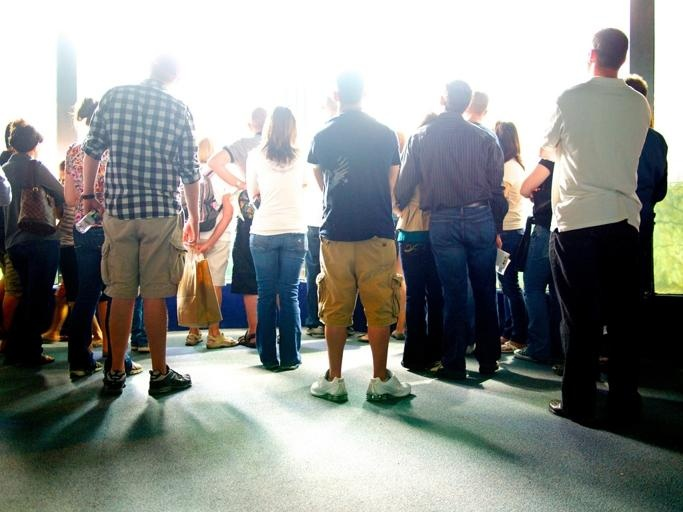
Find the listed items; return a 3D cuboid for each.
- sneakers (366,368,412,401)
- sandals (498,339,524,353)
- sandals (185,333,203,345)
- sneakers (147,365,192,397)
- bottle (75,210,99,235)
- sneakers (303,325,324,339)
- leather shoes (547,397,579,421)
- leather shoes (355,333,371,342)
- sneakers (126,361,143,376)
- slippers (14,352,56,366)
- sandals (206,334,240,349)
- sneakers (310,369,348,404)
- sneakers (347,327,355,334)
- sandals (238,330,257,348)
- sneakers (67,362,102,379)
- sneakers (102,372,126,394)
[{"bbox_3d":[0.285,0.760,2.951,0.285,0.139,0.118,0,-1,-38],"label":"sneakers"},{"bbox_3d":[1.393,0.766,4.210,0.283,0.114,0.104,4,-5,-7],"label":"sandals"},{"bbox_3d":[-1.377,0.767,4.598,0.065,0.076,0.179,0,5,9],"label":"sandals"},{"bbox_3d":[-1.047,0.762,3.077,0.111,0.141,0.295,1,3,42],"label":"sneakers"},{"bbox_3d":[-1.619,-0.217,3.163,0.088,0.145,0.083,29,-31,19],"label":"bottle"},{"bbox_3d":[-0.283,0.764,5.045,0.084,0.104,0.221,3,-6,-37],"label":"sneakers"},{"bbox_3d":[1.180,0.807,2.663,0.070,0.094,0.209,0,5,-13],"label":"leather shoes"},{"bbox_3d":[0.205,0.775,4.823,0.122,0.145,0.361,1,-10,-2],"label":"leather shoes"},{"bbox_3d":[-1.443,0.779,3.464,0.058,0.076,0.115,4,12,28],"label":"sneakers"},{"bbox_3d":[-2.302,0.774,3.735,0.268,0.078,0.097,-1,8,-26],"label":"slippers"},{"bbox_3d":[-1.067,0.744,4.483,0.311,0.131,0.110,-3,3,-43],"label":"sandals"},{"bbox_3d":[-0.082,0.778,2.966,0.108,0.125,0.258,3,2,-31],"label":"sneakers"},{"bbox_3d":[0.094,0.783,5.236,0.091,0.058,0.159,3,5,3],"label":"sneakers"},{"bbox_3d":[-0.842,0.739,4.454,0.097,0.106,0.267,3,4,-20],"label":"sandals"},{"bbox_3d":[-1.754,0.775,3.409,0.072,0.089,0.209,7,15,33],"label":"sneakers"},{"bbox_3d":[-1.368,0.760,2.969,0.079,0.080,0.174,2,3,-12],"label":"sneakers"}]
